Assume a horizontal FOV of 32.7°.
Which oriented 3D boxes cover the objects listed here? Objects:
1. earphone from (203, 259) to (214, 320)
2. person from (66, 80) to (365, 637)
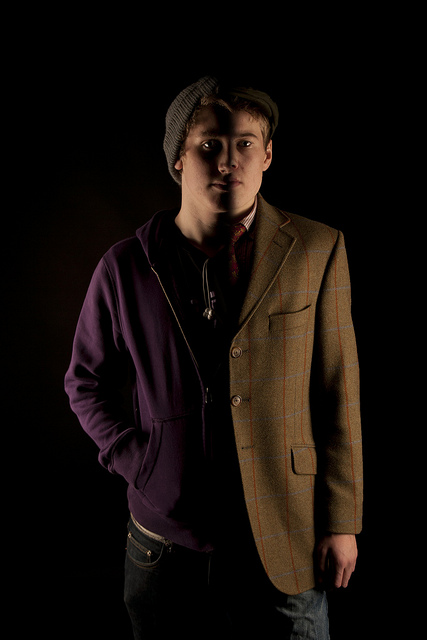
[{"bbox_3d":[-0.012,-0.081,1.991,0.030,0.151,0.060,1,6,-4],"label":"earphone"},{"bbox_3d":[0.005,0.144,1.977,0.804,1.545,0.250,4,6,18],"label":"person"}]
